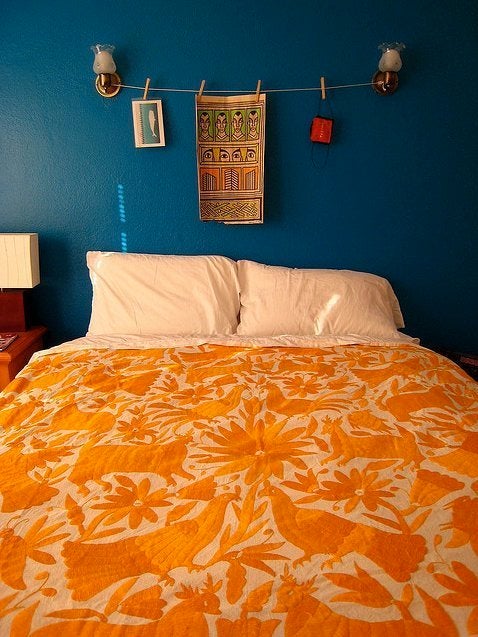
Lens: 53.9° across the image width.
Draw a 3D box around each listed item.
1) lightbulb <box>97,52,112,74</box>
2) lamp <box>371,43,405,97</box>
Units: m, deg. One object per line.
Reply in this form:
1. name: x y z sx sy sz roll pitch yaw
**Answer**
1. lightbulb: -0.642 -1.220 2.231 0.072 0.107 0.078 -4 11 -20
2. lamp: 0.743 -1.241 2.344 0.130 0.226 0.156 0 22 8
